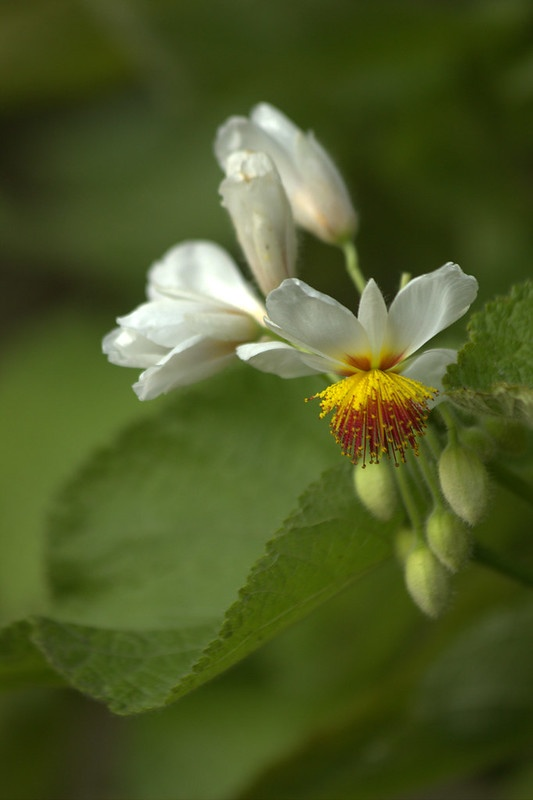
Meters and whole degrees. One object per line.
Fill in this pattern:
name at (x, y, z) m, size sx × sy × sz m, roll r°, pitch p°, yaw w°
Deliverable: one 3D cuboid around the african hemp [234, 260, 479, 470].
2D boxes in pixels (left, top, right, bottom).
african hemp at (0.066, -0.057, 0.654) m, size 0.211 × 0.186 × 0.120 m, roll -10°, pitch 51°, yaw 1°
